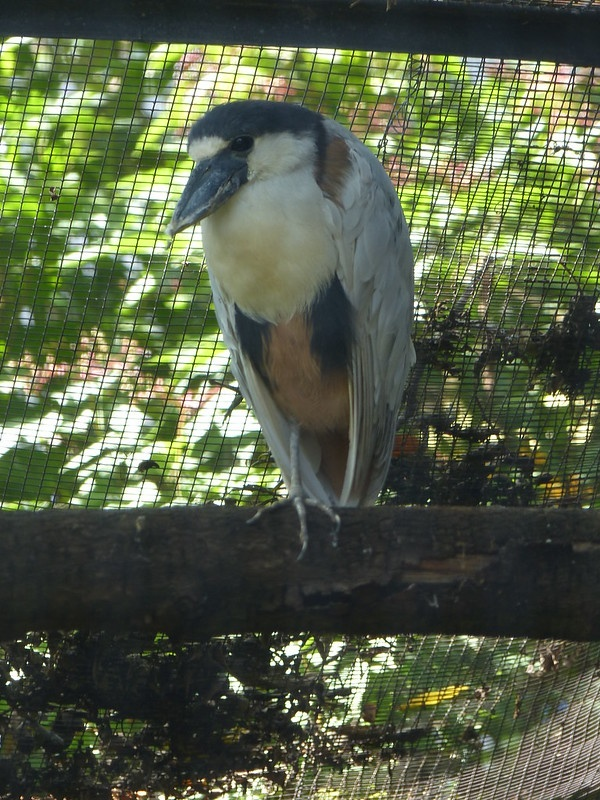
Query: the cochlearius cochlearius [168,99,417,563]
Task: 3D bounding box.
[{"bbox_3d":[-0.005,-0.272,4.221,0.794,1.229,0.564,4,9,-3],"label":"cochlearius cochlearius"}]
